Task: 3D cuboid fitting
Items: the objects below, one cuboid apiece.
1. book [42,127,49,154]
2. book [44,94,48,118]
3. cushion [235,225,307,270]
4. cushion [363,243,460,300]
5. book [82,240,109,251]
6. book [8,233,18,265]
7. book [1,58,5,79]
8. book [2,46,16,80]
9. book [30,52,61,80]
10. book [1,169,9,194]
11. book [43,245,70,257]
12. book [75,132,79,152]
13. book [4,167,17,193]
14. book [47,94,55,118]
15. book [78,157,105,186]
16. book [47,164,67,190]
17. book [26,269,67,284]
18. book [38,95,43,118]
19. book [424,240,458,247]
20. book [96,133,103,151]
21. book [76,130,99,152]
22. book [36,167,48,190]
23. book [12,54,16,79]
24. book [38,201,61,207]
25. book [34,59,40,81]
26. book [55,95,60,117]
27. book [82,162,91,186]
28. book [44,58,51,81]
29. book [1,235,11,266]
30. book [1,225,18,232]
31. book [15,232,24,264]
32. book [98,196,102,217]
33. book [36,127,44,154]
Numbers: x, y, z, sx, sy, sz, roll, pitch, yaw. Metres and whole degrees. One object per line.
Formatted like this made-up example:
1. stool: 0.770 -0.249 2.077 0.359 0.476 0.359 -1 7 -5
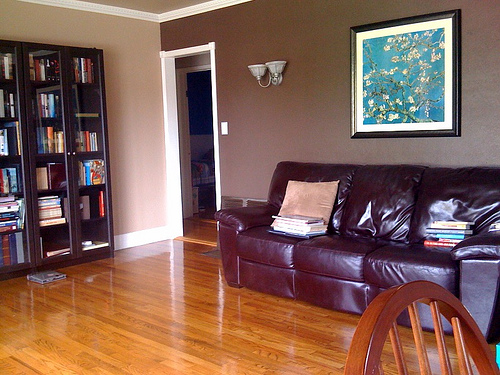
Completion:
1. book: -2.314 -0.538 4.398 0.041 0.384 0.286 -2 2 -24
2. book: -2.297 -0.918 4.398 0.012 0.261 0.045 2 8 29
3. cushion: 0.145 0.541 3.519 0.393 0.172 0.374 2 3 43
4. cushion: 1.269 0.568 3.071 0.649 0.331 0.697 -6 -10 -39
5. book: -1.917 0.710 4.842 0.318 0.104 0.037 -8 9 -39
6. book: -2.570 0.655 4.214 0.092 0.261 0.271 -6 -17 -24
7. book: -2.601 -1.251 4.104 0.013 0.213 0.048 2 8 27
8. book: -2.562 -1.329 4.134 0.113 0.312 0.321 -4 10 -33
9. book: -2.298 -1.360 4.375 0.029 0.302 0.311 4 10 41
10. book: -2.622 -0.068 4.170 0.045 0.195 0.191 -1 7 -11
11. book: -2.250 0.720 4.534 0.022 0.132 0.292 5 10 43
12. book: -2.061 -0.539 4.640 0.016 0.231 0.065 0 8 17
13. book: -2.587 -0.075 4.199 0.090 0.249 0.255 -2 5 -34
14. book: -2.262 -0.925 4.433 0.017 0.264 0.086 3 9 36
15. book: -1.953 -0.204 4.891 0.359 0.354 0.203 -5 -2 0
16. book: -2.246 -0.127 4.499 0.163 0.291 0.301 -1 0 44
17. book: -2.240 0.981 4.283 0.385 0.047 0.280 3 9 33
18. book: -2.340 -0.913 4.350 0.035 0.339 0.247 -2 0 -29
19. book: 1.483 0.441 3.046 0.224 0.053 0.043 5 10 41
20. book: -1.858 -0.560 4.826 0.066 0.217 0.014 -6 8 -26
21. book: -1.979 -0.529 4.796 0.224 0.301 0.303 -3 0 44
22. book: -2.344 -0.093 4.398 0.014 0.259 0.125 3 9 36
23. book: -2.522 -1.292 4.167 0.033 0.257 0.024 -3 7 -9
24. book: -2.300 0.187 4.470 0.014 0.045 0.232 5 10 44
25. book: -2.363 -1.297 4.323 0.041 0.172 0.169 2 5 -6
26. book: -2.215 -0.935 4.482 0.014 0.244 0.052 4 9 38
27. book: -1.984 -0.167 4.756 0.083 0.287 0.039 -6 8 -31
28. book: -2.281 -1.336 4.400 0.057 0.189 0.182 1 4 -9
29. book: -2.613 0.674 4.177 0.021 0.328 0.067 5 10 43
30. book: -2.583 0.438 4.192 0.027 0.061 0.153 5 10 43
31. book: -2.523 0.644 4.257 0.107 0.313 0.329 -3 5 -25
32. book: -1.868 0.240 4.844 0.031 0.248 0.034 -5 8 -21
33. book: -2.348 -0.524 4.363 0.025 0.292 0.075 2 8 29
